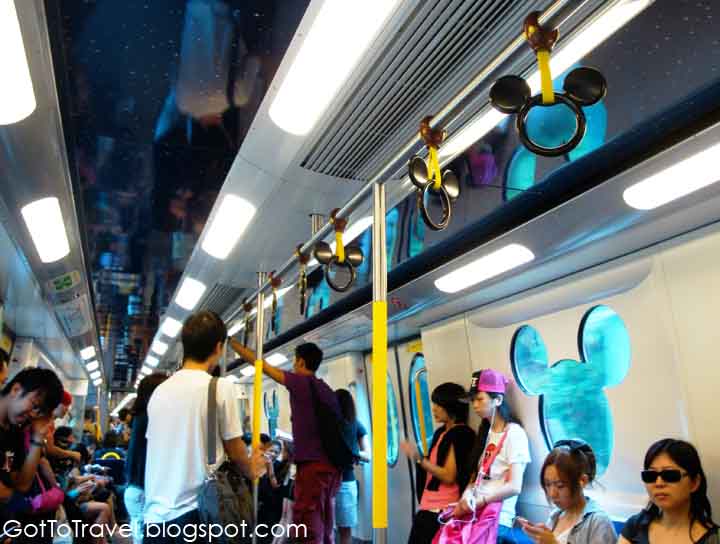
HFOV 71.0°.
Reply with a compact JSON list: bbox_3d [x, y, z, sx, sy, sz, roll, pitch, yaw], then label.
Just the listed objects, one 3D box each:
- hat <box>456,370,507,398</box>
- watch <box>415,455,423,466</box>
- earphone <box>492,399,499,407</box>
[{"bbox_3d":[1.160,1.027,4.698,0.352,0.234,0.223,-1,-11,6],"label":"hat"},{"bbox_3d":[0.535,1.697,4.598,0.023,0.060,0.079,-24,24,-18],"label":"watch"},{"bbox_3d":[1.234,1.184,4.623,0.050,0.077,0.024,11,1,-13],"label":"earphone"}]
